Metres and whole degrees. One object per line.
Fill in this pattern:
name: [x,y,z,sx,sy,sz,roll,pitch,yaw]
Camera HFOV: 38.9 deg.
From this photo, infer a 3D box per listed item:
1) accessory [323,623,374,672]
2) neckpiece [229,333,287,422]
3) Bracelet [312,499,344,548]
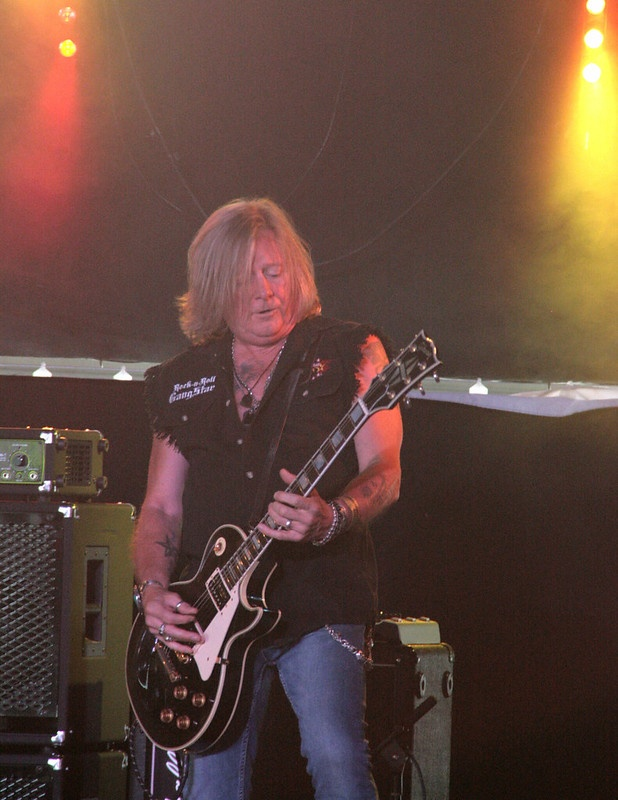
accessory: [0.084,0.552,1.955,0.142,0.041,0.083,28,-30,12]
neckpiece: [-0.119,-0.060,2.288,0.119,0.221,0.034,5,-21,38]
Bracelet: [0.056,0.259,1.832,0.033,0.084,0.073,27,-24,-32]
